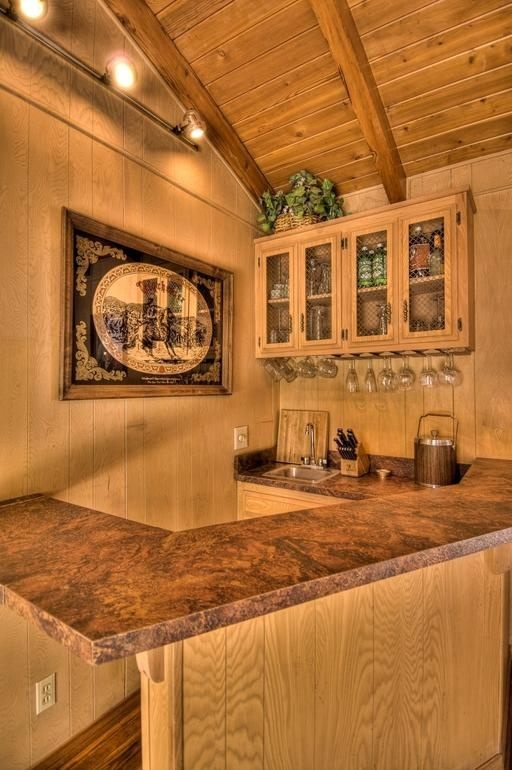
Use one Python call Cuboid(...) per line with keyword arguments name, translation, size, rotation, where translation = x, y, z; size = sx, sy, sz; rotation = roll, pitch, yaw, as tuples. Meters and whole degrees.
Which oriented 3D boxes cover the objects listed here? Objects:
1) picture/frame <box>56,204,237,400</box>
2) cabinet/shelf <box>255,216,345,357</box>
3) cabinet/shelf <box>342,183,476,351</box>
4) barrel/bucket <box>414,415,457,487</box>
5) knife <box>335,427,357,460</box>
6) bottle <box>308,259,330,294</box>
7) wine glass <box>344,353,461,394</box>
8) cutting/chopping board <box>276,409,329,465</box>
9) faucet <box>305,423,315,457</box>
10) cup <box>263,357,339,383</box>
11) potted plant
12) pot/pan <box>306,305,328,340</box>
Cuboid(name="picture/frame", translation=(-0.377, -0.254, 2.209), size=(0.022, 0.619, 0.851), rotation=(-2, -3, 37))
Cuboid(name="cabinet/shelf", translation=(0.231, -0.476, 2.729), size=(0.597, 0.838, 0.217), rotation=(-3, -5, 44))
Cuboid(name="cabinet/shelf", translation=(0.636, -0.422, 2.430), size=(0.523, 0.713, 0.233), rotation=(-6, -24, 28))
Cuboid(name="barrel/bucket", translation=(0.780, 0.275, 2.419), size=(0.158, 0.300, 0.158), rotation=(1, 3, 0))
Cuboid(name="knife", translation=(0.447, 0.274, 2.719), size=(0.080, 0.170, 0.038), rotation=(5, 30, 22))
Cuboid(name="bottle", translation=(0.302, -0.522, 2.675), size=(0.033, 0.176, 0.137), rotation=(-4, 3, -38))
Cuboid(name="wine glass", translation=(0.646, -0.056, 2.679), size=(0.234, 0.187, 0.653), rotation=(-5, 4, -39))
Cuboid(name="cutting/chopping board", translation=(0.264, 0.288, 3.057), size=(0.249, 0.288, 0.028), rotation=(-6, -14, 43))
Cuboid(name="faucet", translation=(0.294, 0.297, 3.016), size=(0.048, 0.176, 0.094), rotation=(-2, 3, 1))
Cuboid(name="cup", translation=(0.235, -0.089, 2.988), size=(0.394, 0.123, 0.182), rotation=(-2, 3, 7))
Cuboid(name="potted plant", translation=(0.178, -0.893, 2.899), size=(0.372, 0.251, 0.339), rotation=(-15, 5, 11))
Cuboid(name="pot/pan", translation=(0.299, -0.297, 2.661), size=(0.141, 0.166, 0.057), rotation=(0, 4, 43))
